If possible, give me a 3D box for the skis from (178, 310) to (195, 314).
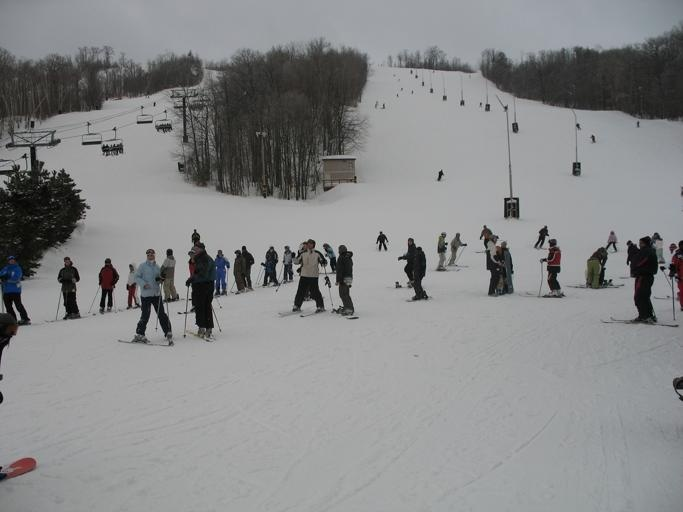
[{"bbox_3d":[-5.149,1.893,21.353,0.443,0.123,0.279,2,2,-13],"label":"skis"}]
